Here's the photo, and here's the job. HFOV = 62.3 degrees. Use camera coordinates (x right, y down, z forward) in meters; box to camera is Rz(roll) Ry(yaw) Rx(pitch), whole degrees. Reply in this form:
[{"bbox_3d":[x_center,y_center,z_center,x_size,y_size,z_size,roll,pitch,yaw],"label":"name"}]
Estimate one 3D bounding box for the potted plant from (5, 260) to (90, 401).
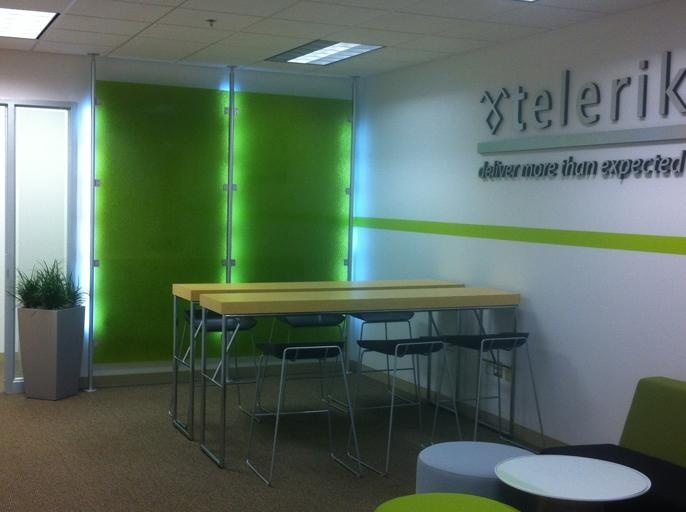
[{"bbox_3d":[-3.339,0.862,6.479,0.696,1.492,0.563,-1,6,-15],"label":"potted plant"}]
